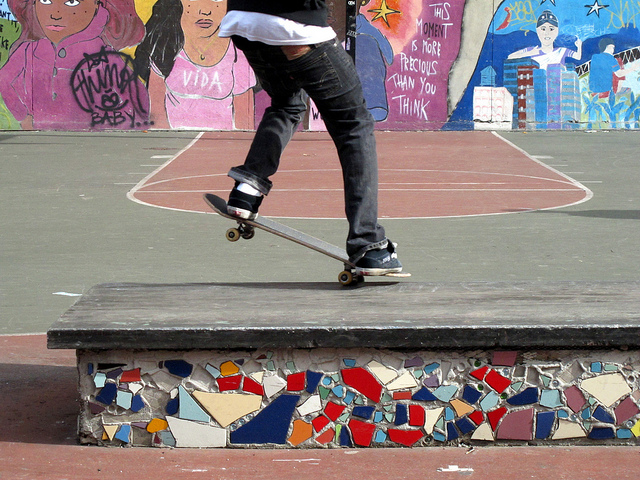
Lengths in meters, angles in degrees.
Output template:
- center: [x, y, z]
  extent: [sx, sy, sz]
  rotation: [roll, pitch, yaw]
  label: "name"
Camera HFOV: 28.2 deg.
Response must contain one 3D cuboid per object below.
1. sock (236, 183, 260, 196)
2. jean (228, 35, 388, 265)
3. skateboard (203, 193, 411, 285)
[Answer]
- center: [-0.513, -0.356, 9.007]
  extent: [0.128, 0.032, 0.078]
  rotation: [25, -1, -6]
  label: "sock"
- center: [-0.058, -0.640, 9.038]
  extent: [1.066, 1.548, 0.596]
  rotation: [0, 16, 11]
  label: "jean"
- center: [-0.156, 0.024, 10.975]
  extent: [1.616, 0.200, 0.315]
  rotation: [22, 14, -2]
  label: "skateboard"
